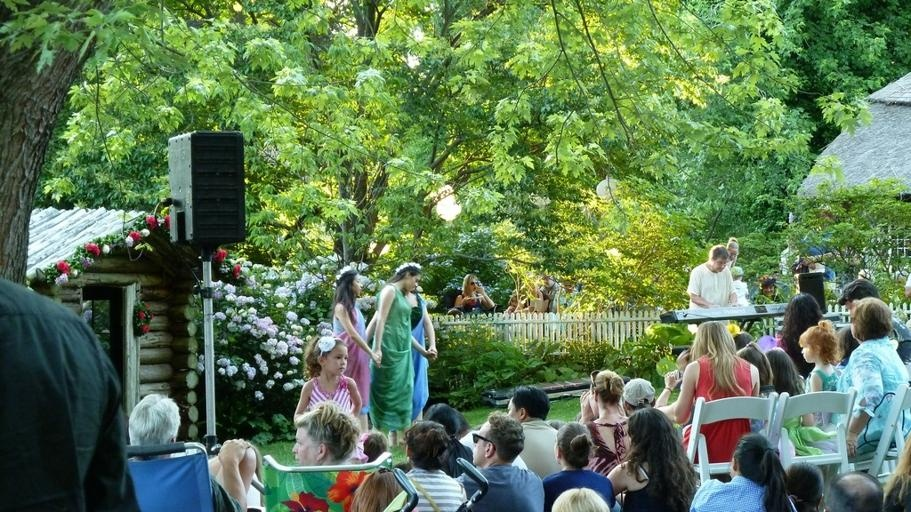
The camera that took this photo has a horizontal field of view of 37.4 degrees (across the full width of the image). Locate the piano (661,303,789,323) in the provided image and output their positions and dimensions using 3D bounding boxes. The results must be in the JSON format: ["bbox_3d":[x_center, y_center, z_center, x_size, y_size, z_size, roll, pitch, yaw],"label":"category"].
[{"bbox_3d":[4.095,0.871,20.475,1.970,0.312,0.596,3,-7,-30],"label":"piano"}]

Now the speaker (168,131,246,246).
[{"bbox_3d":[-3.204,-0.842,17.271,0.948,1.482,0.402,0,-5,-10],"label":"speaker"}]

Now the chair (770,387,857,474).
[{"bbox_3d":[4.566,2.096,17.152,1.024,1.384,1.071,-2,18,0],"label":"chair"}]

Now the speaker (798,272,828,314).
[{"bbox_3d":[5.789,0.583,21.796,0.408,0.679,1.556,-2,-6,14],"label":"speaker"}]
